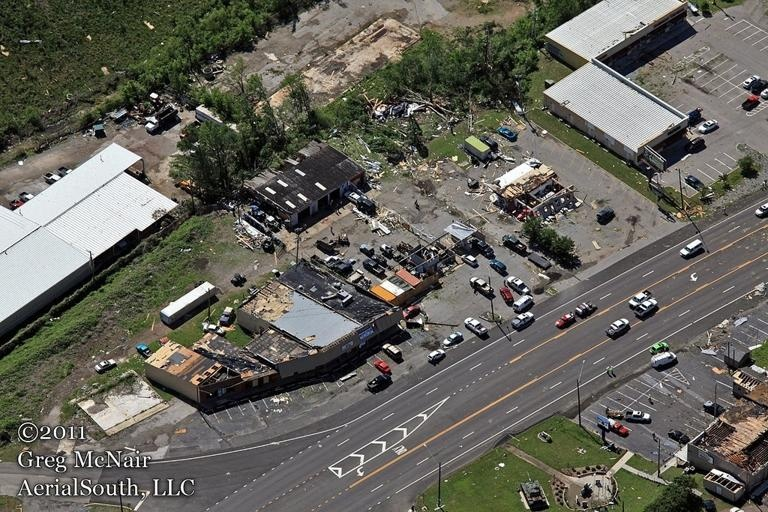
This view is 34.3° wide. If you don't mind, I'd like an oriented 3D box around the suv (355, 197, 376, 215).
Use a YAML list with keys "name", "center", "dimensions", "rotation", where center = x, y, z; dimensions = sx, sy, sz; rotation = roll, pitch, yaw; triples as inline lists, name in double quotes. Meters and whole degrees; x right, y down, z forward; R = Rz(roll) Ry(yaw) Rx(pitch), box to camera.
- name: "suv"
  center: [-3.884, -12.074, 298.471]
  dimensions: [3.176, 4.632, 2.126]
  rotation: [-48, -2, 1]

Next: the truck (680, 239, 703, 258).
- name: "truck"
  center: [71.586, -1.338, 287.976]
  dimensions: [5.592, 2.950, 2.883]
  rotation: [-30, -14, -6]

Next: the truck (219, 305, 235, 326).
- name: "truck"
  center: [-35.034, 13.926, 282.384]
  dimensions: [2.790, 4.289, 1.925]
  rotation: [20, -26, 2]

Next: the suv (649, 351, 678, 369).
- name: "suv"
  center: [61.082, 23.001, 270.378]
  dimensions: [5.281, 3.134, 2.742]
  rotation: [-16, -35, 0]
